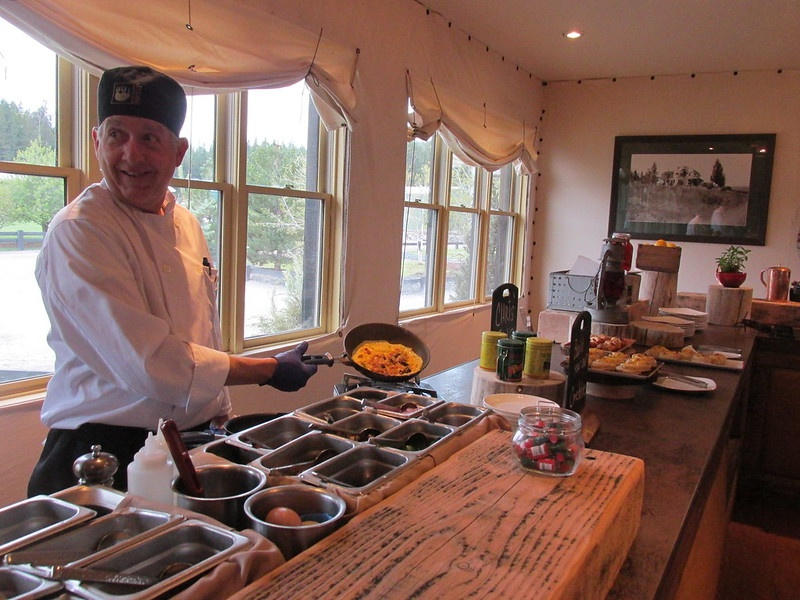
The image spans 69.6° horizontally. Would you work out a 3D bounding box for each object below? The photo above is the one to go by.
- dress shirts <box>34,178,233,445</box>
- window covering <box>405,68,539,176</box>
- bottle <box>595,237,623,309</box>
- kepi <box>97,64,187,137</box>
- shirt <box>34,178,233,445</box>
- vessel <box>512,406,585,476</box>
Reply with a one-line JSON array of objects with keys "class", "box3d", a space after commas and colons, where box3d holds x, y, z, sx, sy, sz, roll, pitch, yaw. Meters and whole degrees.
[{"class": "dress shirts", "box3d": [-0.775, 0.038, 1.778, 0.542, 0.776, 0.544, -6, 13, -42]}, {"class": "window covering", "box3d": [0.626, -1.631, 5.251, 0.167, 0.405, 1.626, 3, 5, 32]}, {"class": "bottle", "box3d": [1.036, -0.122, 2.810, 0.122, 0.363, 0.289, 7, 10, 21]}, {"class": "kepi", "box3d": [-0.790, -0.578, 1.735, 0.234, 0.131, 0.223, 12, 1, -21]}, {"class": "shirt", "box3d": [-0.825, -0.009, 1.930, 0.714, 0.720, 0.709, 3, 7, 9]}, {"class": "vessel", "box3d": [0.340, 0.325, 1.318, 0.160, 0.106, 0.149, 4, 8, 21]}]
